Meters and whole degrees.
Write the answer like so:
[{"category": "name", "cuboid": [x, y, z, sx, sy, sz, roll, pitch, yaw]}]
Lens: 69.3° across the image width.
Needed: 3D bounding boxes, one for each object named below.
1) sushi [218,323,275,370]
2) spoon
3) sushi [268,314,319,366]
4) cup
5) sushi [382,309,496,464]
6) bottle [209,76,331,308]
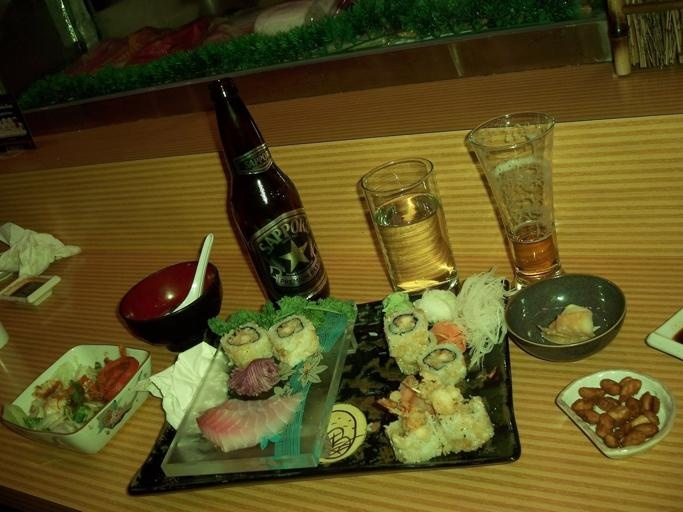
[{"category": "sushi", "cuboid": [-0.185, 0.173, 0.976, 0.078, 0.048, 0.094, -12, 22, 15]}, {"category": "spoon", "cuboid": [-0.318, 0.044, 1.083, 0.052, 0.231, 0.037, 19, -2, 34]}, {"category": "sushi", "cuboid": [-0.087, 0.159, 0.986, 0.101, 0.088, 0.096, -31, 17, -12]}, {"category": "cup", "cuboid": [0.229, -0.092, 0.955, 0.339, 0.318, 0.239, -15, 31, -2]}, {"category": "sushi", "cuboid": [0.146, 0.230, 0.799, 0.164, 0.096, 0.168, -11, 30, 2]}, {"category": "bottle", "cuboid": [-0.146, -0.104, 0.955, 0.134, 0.474, 0.145, -11, 33, 7]}]
